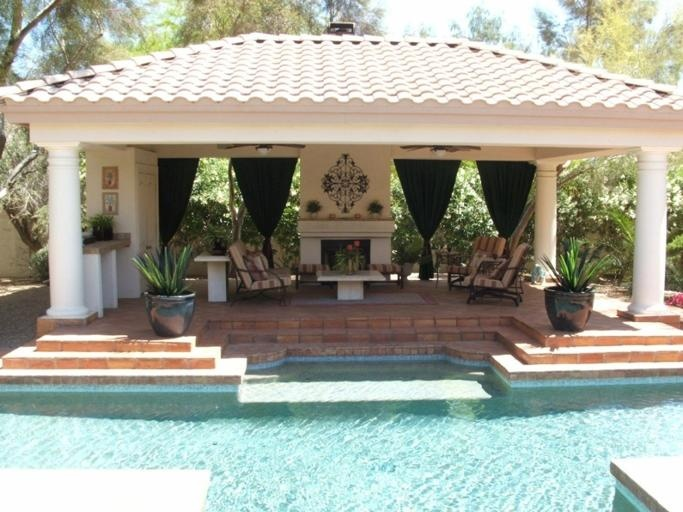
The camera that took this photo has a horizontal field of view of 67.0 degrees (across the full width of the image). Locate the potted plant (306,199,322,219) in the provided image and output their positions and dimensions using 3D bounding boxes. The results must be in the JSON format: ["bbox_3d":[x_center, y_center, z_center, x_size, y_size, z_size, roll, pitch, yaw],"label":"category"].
[{"bbox_3d":[-0.675,-1.124,12.206,0.448,0.443,0.341,-1,6,-11],"label":"potted plant"}]

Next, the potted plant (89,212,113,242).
[{"bbox_3d":[-4.411,-0.533,9.529,0.523,0.509,0.433,-3,5,-25],"label":"potted plant"}]

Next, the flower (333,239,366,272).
[{"bbox_3d":[0.182,0.064,10.407,0.518,0.697,0.643,-5,-19,23],"label":"flower"}]

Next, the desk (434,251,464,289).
[{"bbox_3d":[2.459,0.323,12.063,0.783,0.749,0.776,10,4,-39],"label":"desk"}]

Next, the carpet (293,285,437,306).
[{"bbox_3d":[0.406,0.821,10.077,2.607,0.127,1.471,-2,8,-5],"label":"carpet"}]

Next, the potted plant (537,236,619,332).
[{"bbox_3d":[3.421,0.444,7.611,0.819,1.342,0.655,-10,11,-43],"label":"potted plant"}]

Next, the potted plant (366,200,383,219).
[{"bbox_3d":[0.779,-1.121,12.239,0.376,0.362,0.370,0,3,0],"label":"potted plant"}]

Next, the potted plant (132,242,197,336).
[{"bbox_3d":[-2.567,0.506,7.413,0.889,1.251,0.801,0,2,18],"label":"potted plant"}]

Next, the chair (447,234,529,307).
[{"bbox_3d":[2.879,0.369,10.014,1.305,0.973,1.544,-1,5,16],"label":"chair"}]
